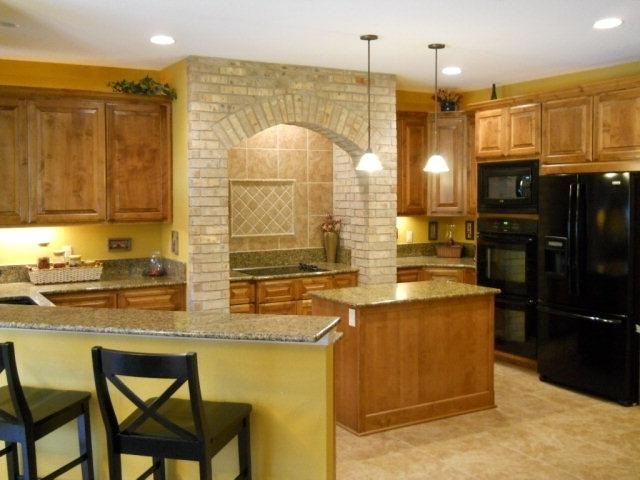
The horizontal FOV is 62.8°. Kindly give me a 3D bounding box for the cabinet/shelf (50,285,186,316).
[{"bbox_3d":[-1.924,0.574,5.037,1.224,0.262,0.102,-2,8,-21],"label":"cabinet/shelf"}]

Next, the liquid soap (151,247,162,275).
[{"bbox_3d":[-1.744,0.250,5.592,0.115,0.228,0.185,-1,8,-7],"label":"liquid soap"}]

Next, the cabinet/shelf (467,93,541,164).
[{"bbox_3d":[1.997,-1.192,5.837,0.854,0.624,0.273,-10,19,-16],"label":"cabinet/shelf"}]

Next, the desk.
[{"bbox_3d":[0.686,1.055,4.756,1.622,0.981,0.856,3,-5,-36],"label":"desk"}]

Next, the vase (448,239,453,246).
[{"bbox_3d":[1.795,0.025,7.178,0.089,0.068,0.054,0,-6,6],"label":"vase"}]

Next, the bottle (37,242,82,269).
[{"bbox_3d":[-2.669,0.131,5.293,0.351,0.182,0.336,0,1,0],"label":"bottle"}]

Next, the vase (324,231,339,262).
[{"bbox_3d":[0.141,0.072,6.419,0.185,0.398,0.152,0,8,1],"label":"vase"}]

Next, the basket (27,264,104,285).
[{"bbox_3d":[-2.517,0.302,5.177,0.471,0.139,0.268,-2,1,-29],"label":"basket"}]

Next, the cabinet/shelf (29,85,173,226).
[{"bbox_3d":[-2.198,-0.847,5.134,1.701,1.318,0.555,-1,1,-23],"label":"cabinet/shelf"}]

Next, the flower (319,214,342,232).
[{"bbox_3d":[0.110,-0.206,6.428,0.233,0.201,0.228,-2,-3,39],"label":"flower"}]

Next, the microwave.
[{"bbox_3d":[1.976,-0.594,5.848,0.878,0.615,0.385,-2,5,-18],"label":"microwave"}]
